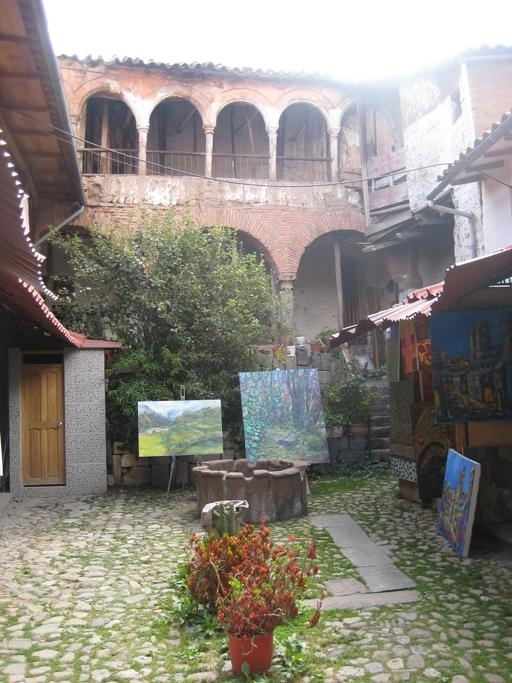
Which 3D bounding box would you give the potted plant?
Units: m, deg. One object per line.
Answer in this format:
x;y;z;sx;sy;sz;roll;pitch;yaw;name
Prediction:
1.869;1.287;10.983;1.048;1.165;0.789;-3;-4;6;potted plant
